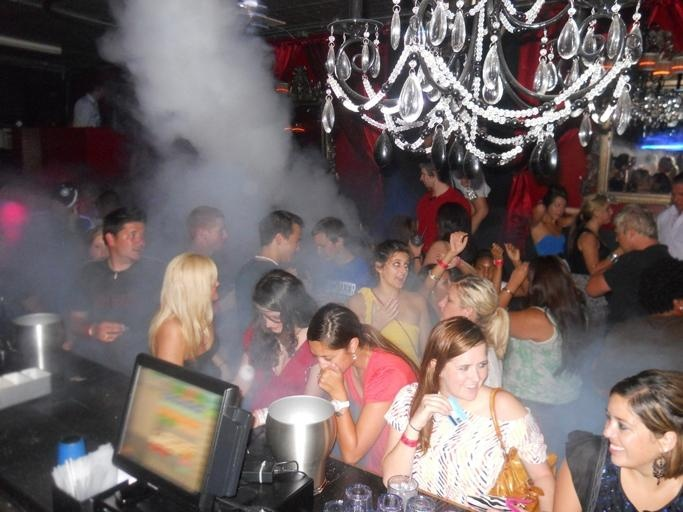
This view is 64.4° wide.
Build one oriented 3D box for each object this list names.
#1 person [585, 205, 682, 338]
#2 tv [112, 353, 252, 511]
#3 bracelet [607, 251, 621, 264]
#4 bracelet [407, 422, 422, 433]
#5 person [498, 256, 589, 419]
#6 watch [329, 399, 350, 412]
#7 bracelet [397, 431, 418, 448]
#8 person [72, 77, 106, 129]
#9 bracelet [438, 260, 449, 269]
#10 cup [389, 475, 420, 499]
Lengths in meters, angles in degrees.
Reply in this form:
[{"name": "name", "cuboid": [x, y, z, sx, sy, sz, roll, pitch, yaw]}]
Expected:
[{"name": "person", "cuboid": [1.904, 0.057, 3.633, 0.376, 0.558, 0.933, 9, 7, 11]}, {"name": "tv", "cuboid": [-0.536, 0.604, 1.831, 0.512, 0.440, 0.128, 12, 9, 24]}, {"name": "bracelet", "cuboid": [2.007, 0.012, 4.016, 0.048, 0.043, 0.171, 13, -17, 11]}, {"name": "bracelet", "cuboid": [0.303, 0.710, 2.233, 0.064, 0.045, 0.041, 8, 7, -9]}, {"name": "person", "cuboid": [1.173, 0.509, 3.157, 0.699, 0.890, 0.437, -12, 18, -36]}, {"name": "watch", "cuboid": [-0.007, 0.639, 2.307, 0.081, 0.053, 0.064, 3, -8, -9]}, {"name": "bracelet", "cuboid": [0.274, 0.751, 2.226, 0.056, 0.044, 0.057, 5, -2, -35]}, {"name": "person", "cuboid": [-3.023, -1.854, 6.514, 0.282, 0.593, 1.027, 4, 9, -27]}, {"name": "bracelet", "cuboid": [0.673, 0.054, 3.601, 0.061, 0.051, 0.039, 9, 7, 4]}, {"name": "cup", "cuboid": [0.215, 0.823, 1.933, 0.073, 0.062, 0.076, 1, 0, 0]}]
